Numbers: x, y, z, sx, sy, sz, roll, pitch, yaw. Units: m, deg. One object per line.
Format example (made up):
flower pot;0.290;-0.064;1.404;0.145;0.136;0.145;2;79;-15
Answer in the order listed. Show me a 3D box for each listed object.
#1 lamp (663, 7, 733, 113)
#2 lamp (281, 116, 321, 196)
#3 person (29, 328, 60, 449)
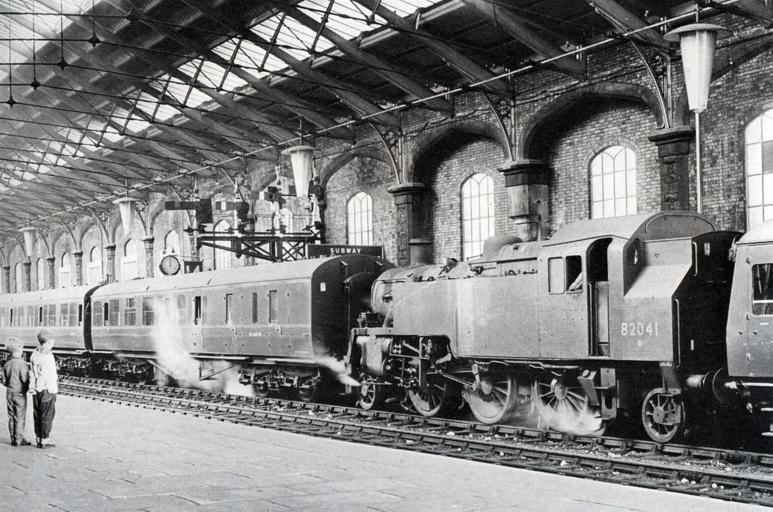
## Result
lamp;6.433;-3.971;18.260;1.082;1.848;0.602;-3;-6;17
lamp;-2.720;-2.994;27.479;1.014;1.538;0.967;-1;4;-8
person;-7.286;2.761;18.712;0.543;2.403;1.568;1;-7;-21
